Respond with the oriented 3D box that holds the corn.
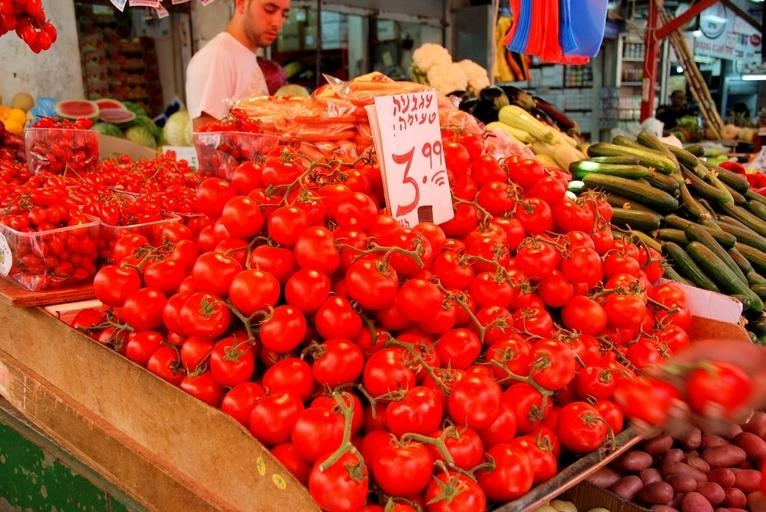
[{"bbox_3d":[1.146,-1.085,4.686,0.134,0.207,0.413,22,3,-40],"label":"corn"}]
